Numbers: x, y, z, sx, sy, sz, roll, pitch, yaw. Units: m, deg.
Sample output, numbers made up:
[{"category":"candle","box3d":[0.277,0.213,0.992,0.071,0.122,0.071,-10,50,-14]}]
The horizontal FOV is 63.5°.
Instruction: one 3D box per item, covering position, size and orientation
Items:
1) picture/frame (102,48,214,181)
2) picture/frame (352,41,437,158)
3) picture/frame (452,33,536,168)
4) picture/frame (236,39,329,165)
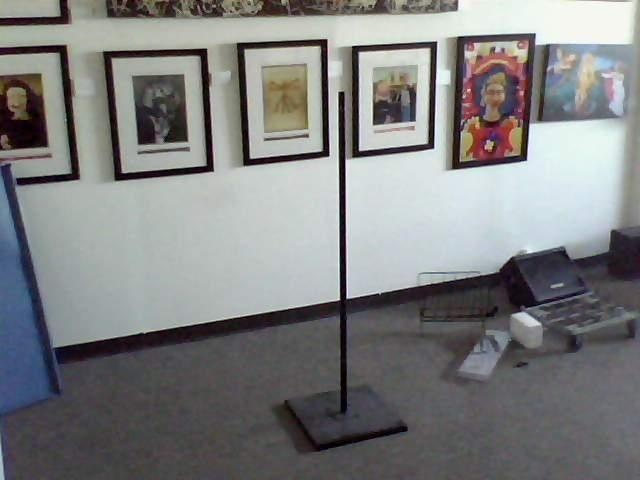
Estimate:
[{"category":"picture/frame","box3d":[-1.044,-0.823,3.272,0.703,0.944,0.044,-7,17,-21]},{"category":"picture/frame","box3d":[0.513,-1.046,3.737,0.692,0.877,0.042,-10,23,-22]},{"category":"picture/frame","box3d":[1.321,-1.115,4.006,0.837,1.238,0.079,-8,18,-25]},{"category":"picture/frame","box3d":[-0.273,-0.960,3.492,0.691,0.922,0.057,-9,19,-22]}]
